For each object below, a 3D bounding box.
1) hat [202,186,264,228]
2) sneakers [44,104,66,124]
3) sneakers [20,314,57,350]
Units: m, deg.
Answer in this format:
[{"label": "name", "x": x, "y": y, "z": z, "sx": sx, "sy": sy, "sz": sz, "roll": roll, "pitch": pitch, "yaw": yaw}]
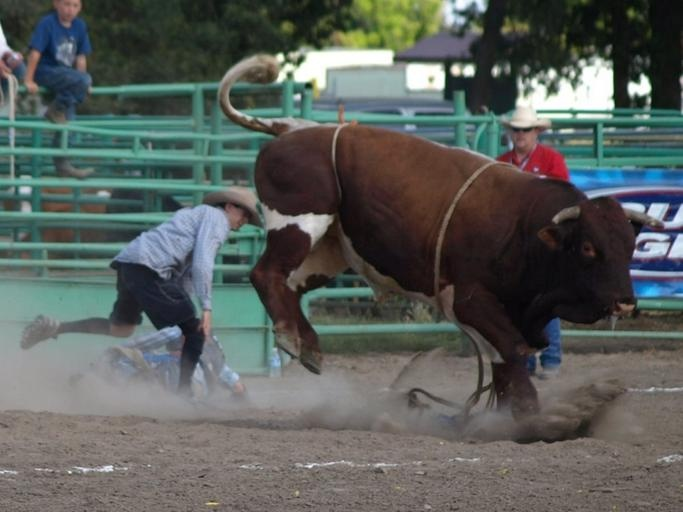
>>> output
[{"label": "hat", "x": -1.113, "y": -0.552, "z": 18.778, "sx": 0.548, "sy": 0.210, "sz": 0.414, "roll": 24, "pitch": -19, "yaw": -2}, {"label": "sneakers", "x": -3.345, "y": -1.714, "z": 20.762, "sx": 0.244, "sy": 0.229, "sz": 0.260, "roll": -3, "pitch": 7, "yaw": -10}, {"label": "sneakers", "x": -3.301, "y": 0.812, "z": 19.253, "sx": 0.449, "sy": 0.287, "sz": 0.179, "roll": -31, "pitch": 11, "yaw": -7}]
